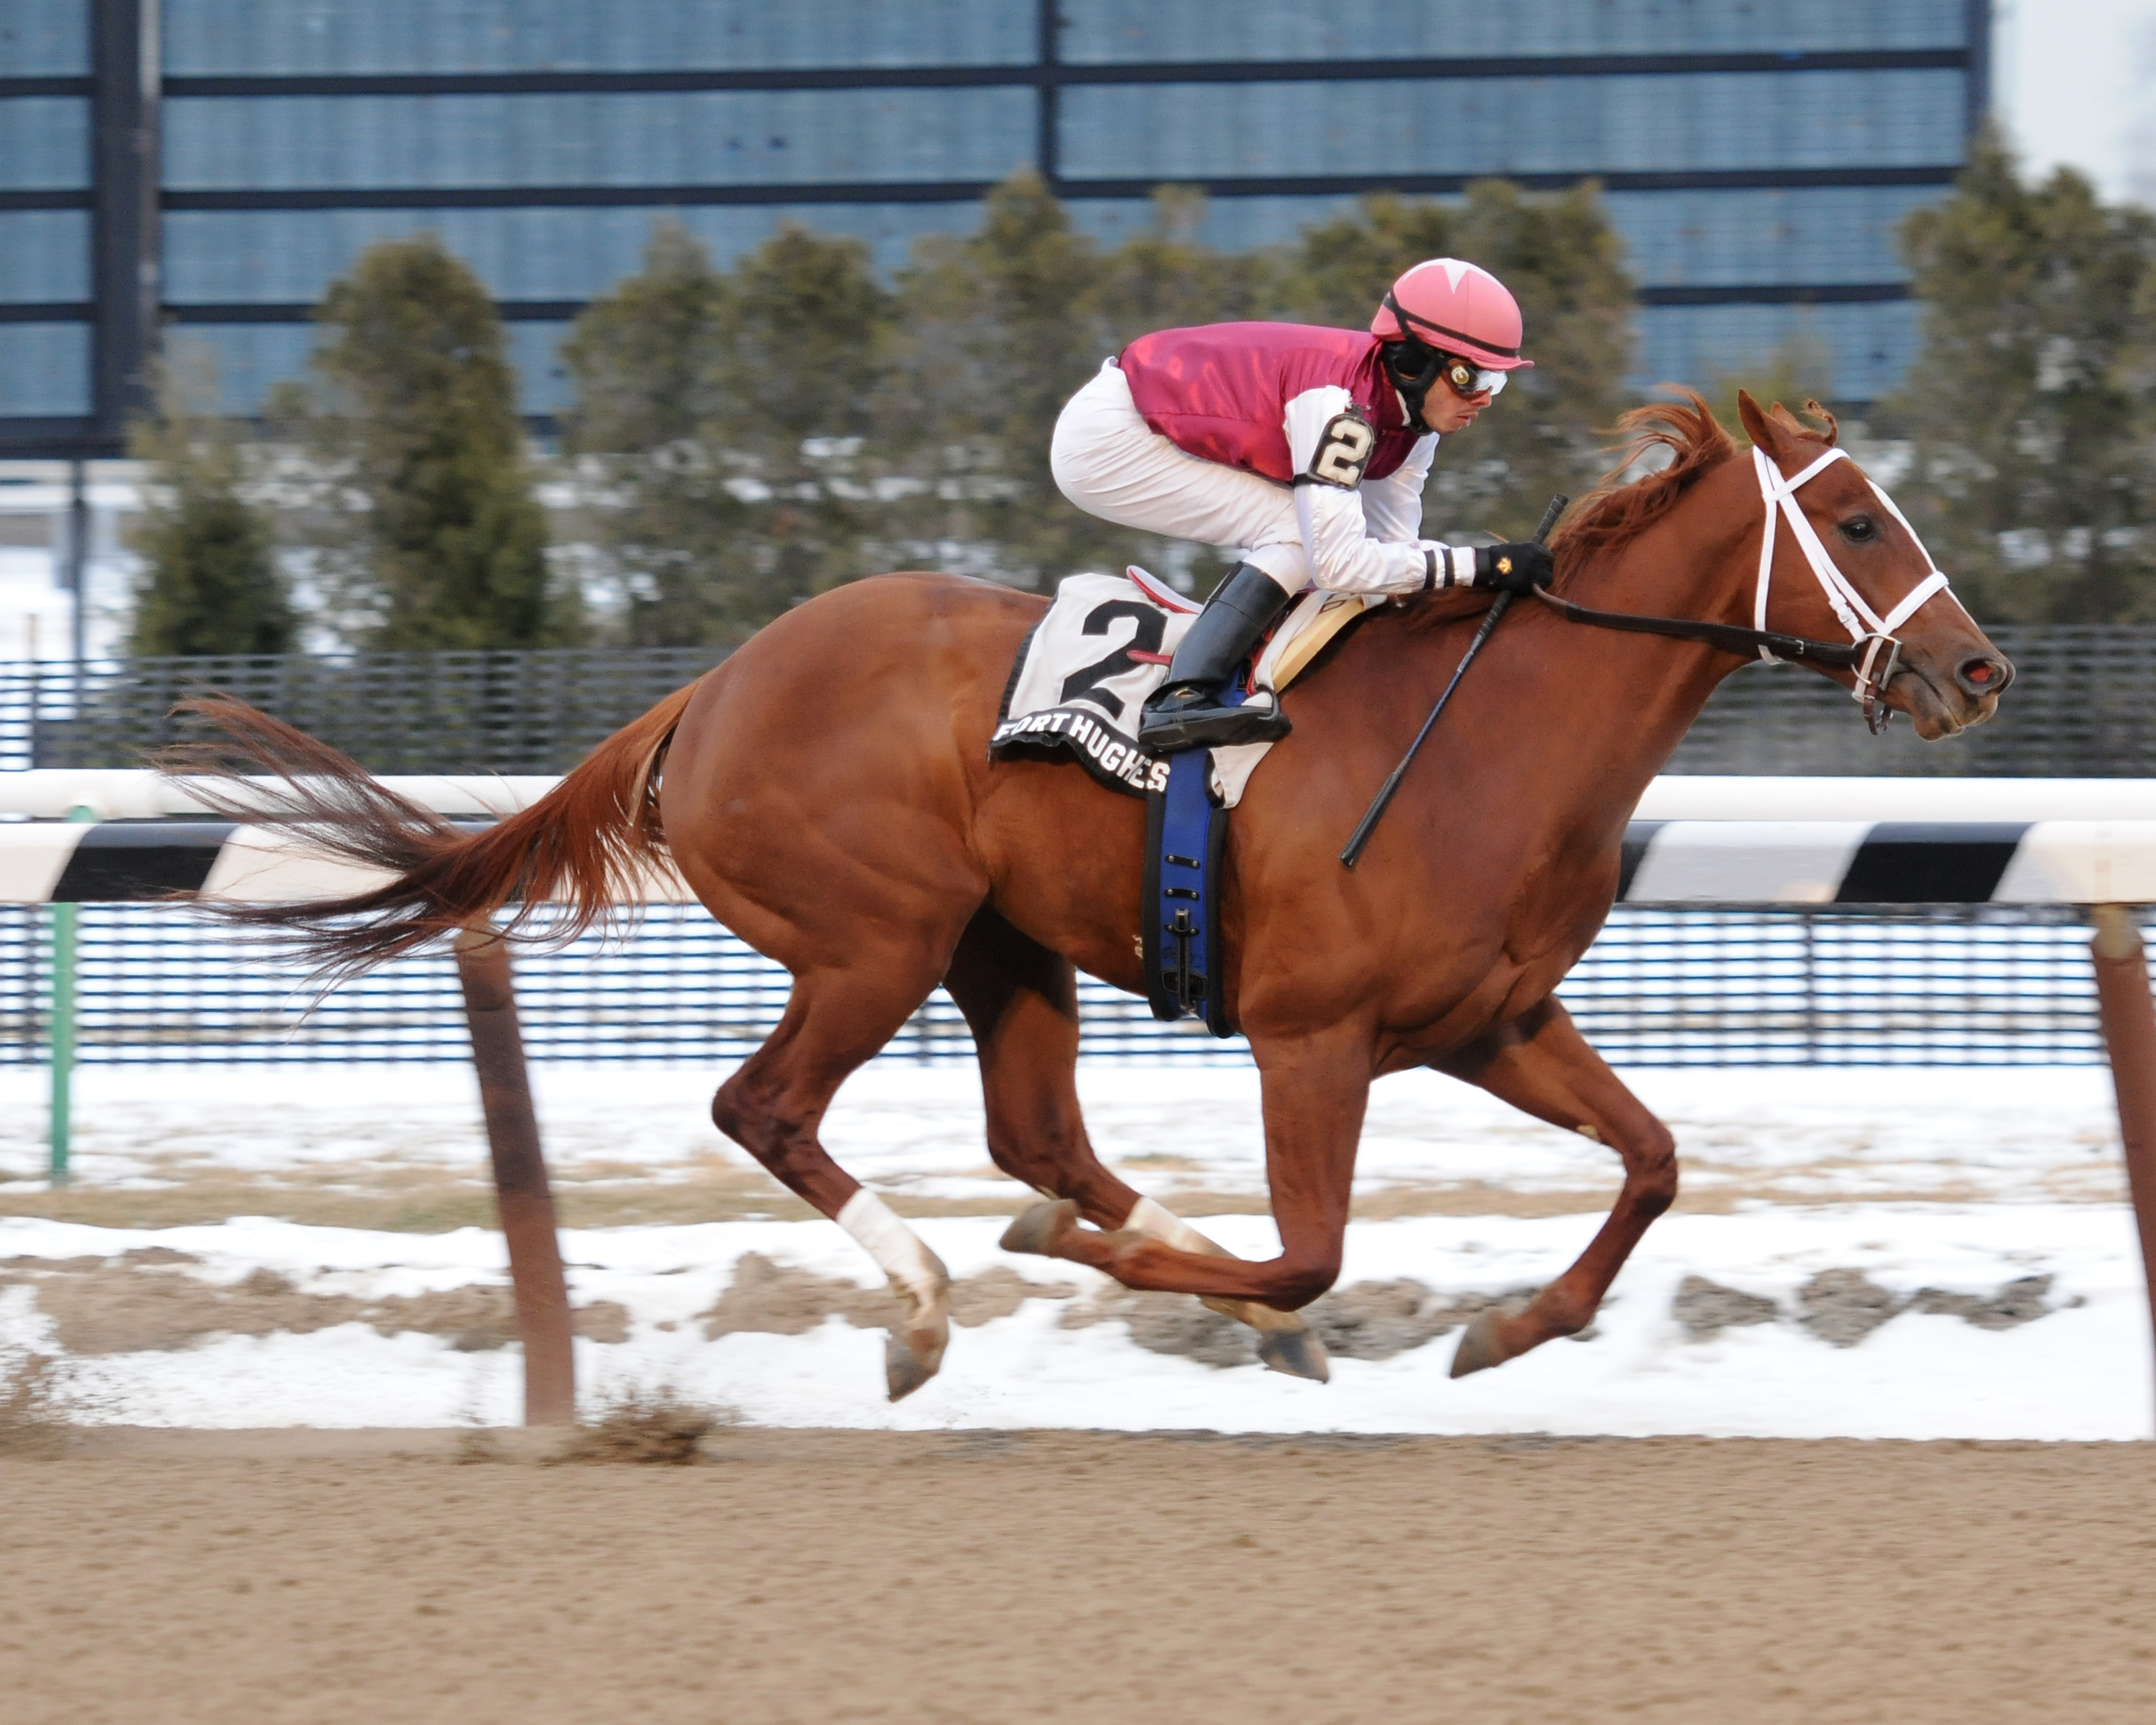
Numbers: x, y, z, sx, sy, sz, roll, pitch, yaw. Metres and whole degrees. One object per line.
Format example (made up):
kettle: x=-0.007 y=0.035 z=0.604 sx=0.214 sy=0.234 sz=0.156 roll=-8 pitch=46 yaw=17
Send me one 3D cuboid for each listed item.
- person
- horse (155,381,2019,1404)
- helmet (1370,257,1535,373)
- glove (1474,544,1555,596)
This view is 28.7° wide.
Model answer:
person: x=0.667 y=-1.003 z=11.306 sx=1.507 sy=1.327 sz=0.885 roll=22 pitch=35 yaw=37
horse: x=0.195 y=0.079 z=12.094 sx=6.036 sy=2.826 sz=1.481 roll=6 pitch=9 yaw=43
helmet: x=1.013 y=-1.464 z=11.141 sx=0.472 sy=0.202 sz=0.341 roll=24 pitch=31 yaw=35
glove: x=1.139 y=-0.761 z=11.073 sx=0.205 sy=0.138 sz=0.084 roll=-4 pitch=10 yaw=-31
